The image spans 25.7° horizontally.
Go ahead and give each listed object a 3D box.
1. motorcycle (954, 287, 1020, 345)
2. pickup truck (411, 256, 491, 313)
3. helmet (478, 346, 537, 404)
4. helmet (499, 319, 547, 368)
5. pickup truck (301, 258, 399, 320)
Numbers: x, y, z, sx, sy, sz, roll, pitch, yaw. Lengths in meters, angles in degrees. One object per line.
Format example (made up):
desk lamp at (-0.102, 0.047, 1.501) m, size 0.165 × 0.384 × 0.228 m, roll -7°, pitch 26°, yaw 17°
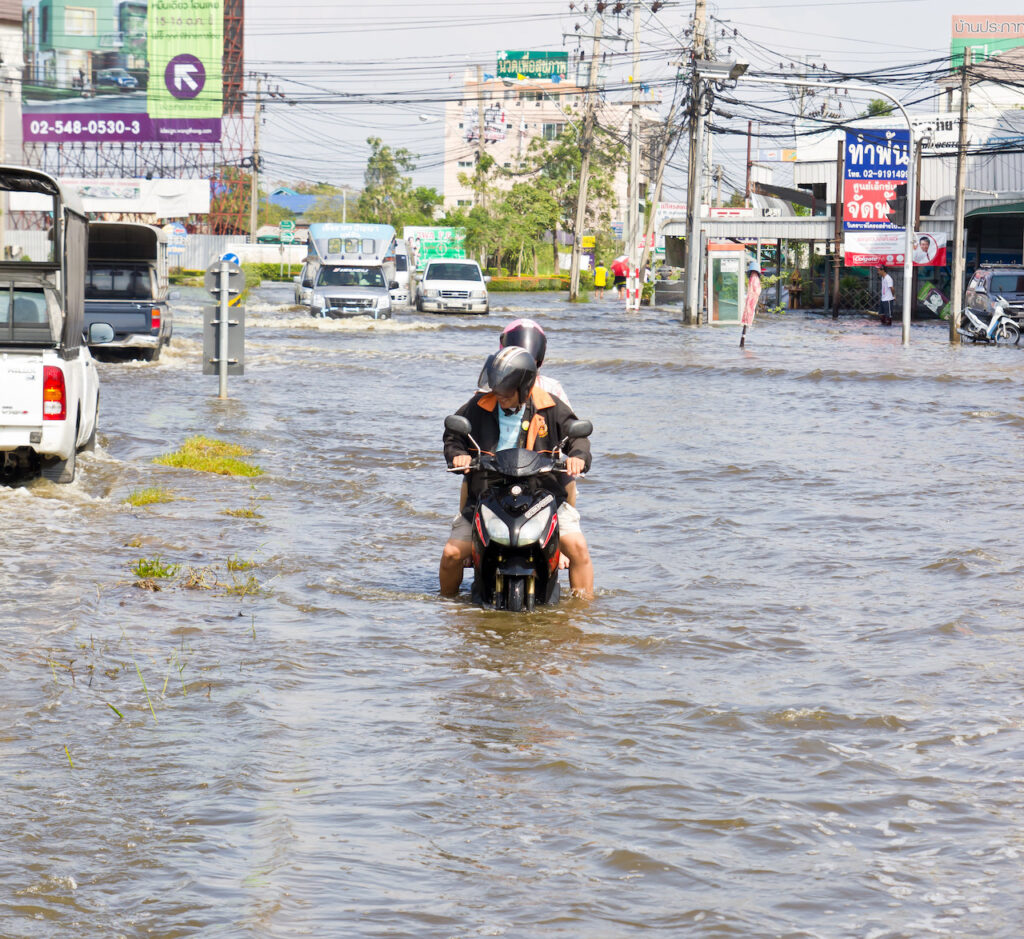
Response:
motorcycle at (9.242, -2.872, 43.041) m, size 0.705 × 0.912 × 1.450 m, roll -2°, pitch 10°, yaw -21°
pickup truck at (-1.299, -4.272, 52.809) m, size 1.614 × 1.234 × 2.117 m, roll 2°, pitch 9°, yaw -2°
helmet at (0.020, -0.536, 12.735) m, size 0.286 × 0.345 × 0.375 m, roll 2°, pitch 10°, yaw -1°
helmet at (0.102, -0.751, 12.794) m, size 0.250 × 0.267 × 0.275 m, roll 4°, pitch -16°, yaw 5°
pickup truck at (-3.164, -3.672, 46.149) m, size 1.693 × 1.036 × 1.632 m, roll 1°, pitch 9°, yaw -4°
